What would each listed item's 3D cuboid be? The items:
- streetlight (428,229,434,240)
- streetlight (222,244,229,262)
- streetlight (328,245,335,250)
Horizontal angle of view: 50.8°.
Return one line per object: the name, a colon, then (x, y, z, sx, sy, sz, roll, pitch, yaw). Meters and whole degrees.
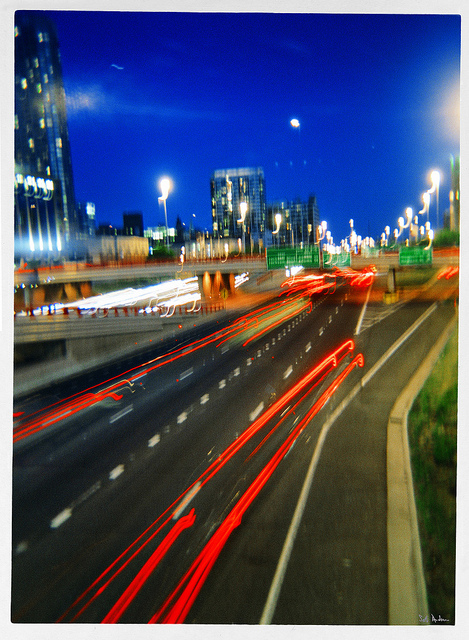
streetlight: (7.150, -3.110, 18.026, 0.161, 0.406, 0.086, -2, 6, -9)
streetlight: (-0.444, -3.661, 26.990, 0.225, 0.948, 0.796, -2, 7, -15)
streetlight: (4.863, -3.673, 24.998, 0.371, 0.174, 0.524, 3, 8, 22)
